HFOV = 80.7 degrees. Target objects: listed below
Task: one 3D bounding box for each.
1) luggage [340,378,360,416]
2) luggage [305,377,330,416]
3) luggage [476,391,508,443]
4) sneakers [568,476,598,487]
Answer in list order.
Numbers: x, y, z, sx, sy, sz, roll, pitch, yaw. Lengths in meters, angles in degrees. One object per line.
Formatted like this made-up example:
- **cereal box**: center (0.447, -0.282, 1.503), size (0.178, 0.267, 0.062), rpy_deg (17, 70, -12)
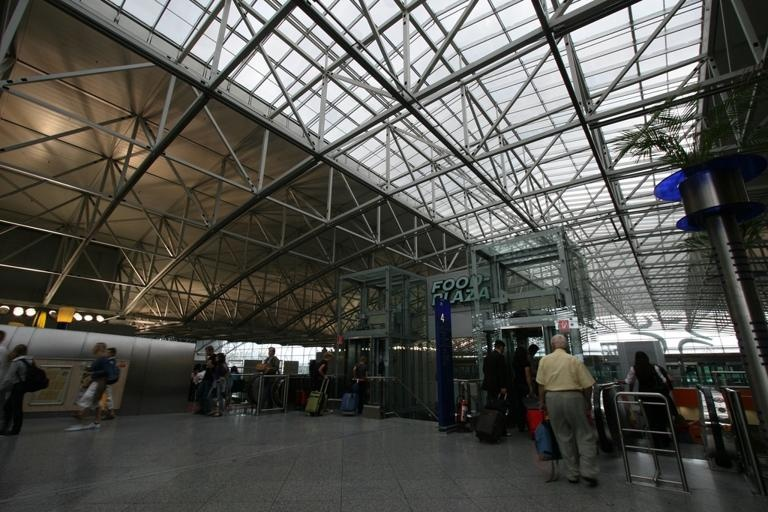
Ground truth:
- **luggage**: center (-1.325, 5.731, 18.444), size (0.747, 1.506, 0.858), rpy_deg (0, -2, -2)
- **luggage**: center (-2.613, 5.501, 17.914), size (0.684, 1.488, 0.945), rpy_deg (-1, -2, 14)
- **luggage**: center (3.147, 4.363, 12.925), size (0.713, 1.523, 0.773), rpy_deg (20, -17, -24)
- **sneakers**: center (4.405, 4.926, 9.887), size (0.301, 0.087, 0.398), rpy_deg (21, -27, -36)
